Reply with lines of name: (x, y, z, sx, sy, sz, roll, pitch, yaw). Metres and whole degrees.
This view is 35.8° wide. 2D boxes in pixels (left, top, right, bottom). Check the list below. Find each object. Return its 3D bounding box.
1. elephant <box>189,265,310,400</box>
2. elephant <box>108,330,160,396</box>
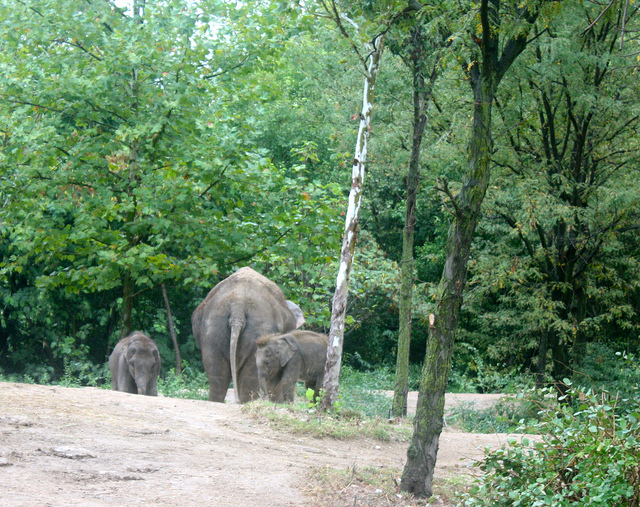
elephant: (-1.628, 2.089, 23.286, 2.228, 3.484, 4.140, 5, 3, 3)
elephant: (-4.219, 2.548, 22.649, 0.799, 1.415, 1.691, -2, 9, -36)
